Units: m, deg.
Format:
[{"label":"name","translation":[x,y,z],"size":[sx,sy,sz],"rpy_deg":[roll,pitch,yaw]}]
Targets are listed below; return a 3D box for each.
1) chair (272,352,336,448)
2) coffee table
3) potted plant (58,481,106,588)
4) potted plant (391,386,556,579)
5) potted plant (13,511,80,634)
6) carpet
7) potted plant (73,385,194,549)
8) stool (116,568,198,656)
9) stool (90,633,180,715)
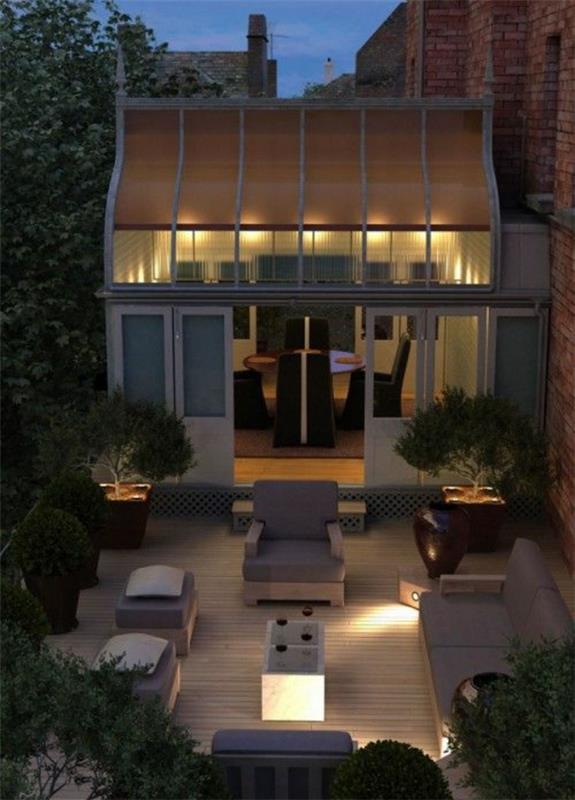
[{"label":"chair","translation":[0.251,-0.036,11.629],"size":[1.020,1.483,0.922],"rpy_deg":[2,12,-3]},{"label":"coffee table","translation":[0.052,2.199,5.837],"size":[0.537,0.473,1.073],"rpy_deg":[1,16,3]},{"label":"potted plant","translation":[-2.224,1.492,7.850],"size":[0.616,1.179,0.574],"rpy_deg":[-4,14,-28]},{"label":"potted plant","translation":[2.499,0.893,9.016],"size":[1.636,1.948,2.060],"rpy_deg":[-9,15,-39]},{"label":"potted plant","translation":[-2.335,1.533,7.131],"size":[0.689,1.232,0.828],"rpy_deg":[-6,13,-27]},{"label":"carpet","translation":[0.238,0.596,12.973],"size":[4.079,0.798,3.114],"rpy_deg":[-1,14,-7]},{"label":"potted plant","translation":[-1.906,0.921,9.127],"size":[1.334,1.911,1.015],"rpy_deg":[0,11,5]},{"label":"stool","translation":[-1.318,2.048,7.133],"size":[0.767,0.642,1.309],"rpy_deg":[0,4,-2]},{"label":"stool","translation":[-1.273,2.201,5.649],"size":[0.715,0.548,0.973],"rpy_deg":[2,2,0]}]
